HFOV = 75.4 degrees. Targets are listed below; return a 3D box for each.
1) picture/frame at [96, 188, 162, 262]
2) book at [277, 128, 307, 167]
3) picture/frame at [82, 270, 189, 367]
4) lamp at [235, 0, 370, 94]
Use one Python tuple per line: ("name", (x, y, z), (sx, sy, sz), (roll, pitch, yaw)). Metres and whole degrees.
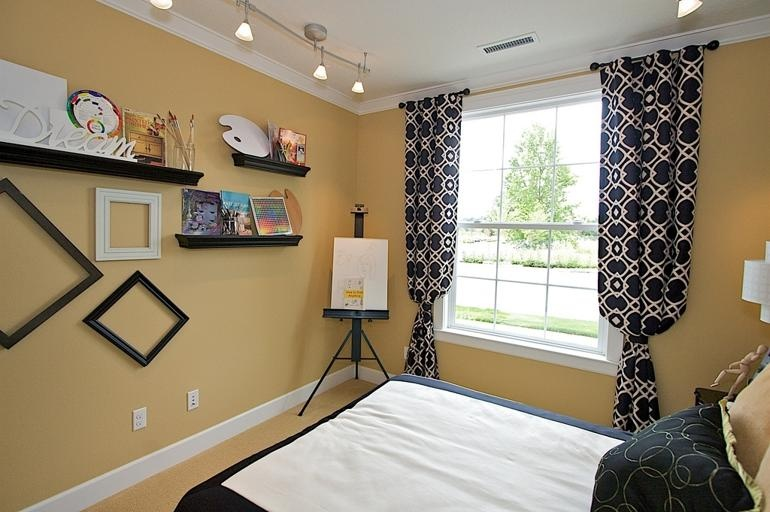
("picture/frame", (-1.867, -0.228, 3.591), (0.537, 0.649, 0.048), (-1, 2, -45))
("book", (-0.843, -0.956, 4.445), (0.056, 0.293, 0.411), (2, 1, 33))
("picture/frame", (-1.858, 0.457, 3.652), (0.717, 0.715, 0.073), (-4, 1, -40))
("lamp", (-0.616, -1.712, 4.056), (1.343, 0.298, 0.502), (-2, 5, -44))
